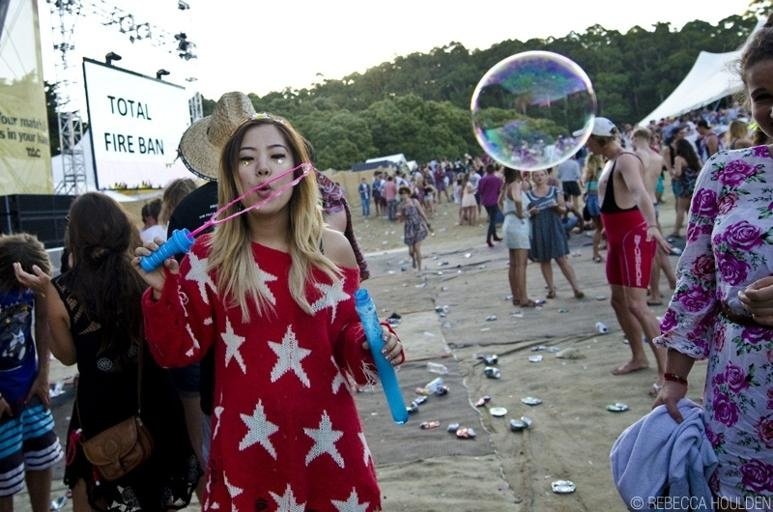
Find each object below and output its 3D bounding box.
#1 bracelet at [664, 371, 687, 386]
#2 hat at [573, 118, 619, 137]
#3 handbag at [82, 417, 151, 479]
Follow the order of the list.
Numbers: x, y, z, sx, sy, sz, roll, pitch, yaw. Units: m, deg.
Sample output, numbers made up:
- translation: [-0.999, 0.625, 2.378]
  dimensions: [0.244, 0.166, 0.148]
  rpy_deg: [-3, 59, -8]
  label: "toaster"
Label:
- translation: [1.637, 0.688, 3.555]
  dimensions: [0.088, 0.033, 0.075]
  rpy_deg: [22, 3, 20]
  label: "bracelet"
- translation: [1.943, -1.190, 5.877]
  dimensions: [0.318, 0.163, 0.207]
  rpy_deg: [-10, 15, 19]
  label: "hat"
- translation: [-1.843, 1.285, 4.242]
  dimensions: [0.328, 0.275, 0.169]
  rpy_deg: [-28, 6, -13]
  label: "handbag"
